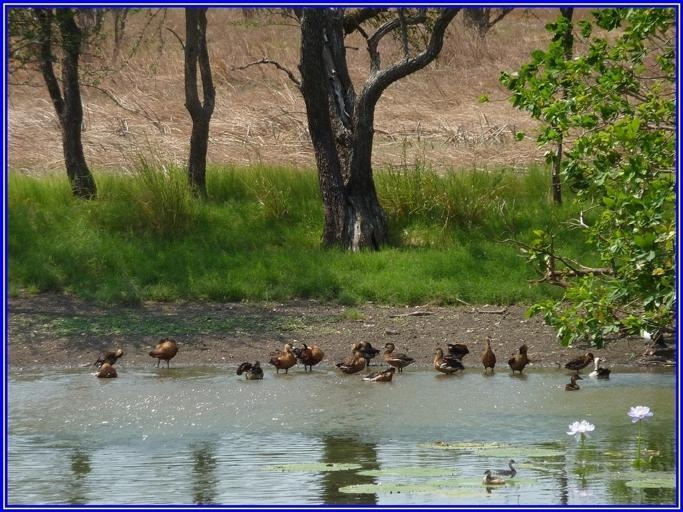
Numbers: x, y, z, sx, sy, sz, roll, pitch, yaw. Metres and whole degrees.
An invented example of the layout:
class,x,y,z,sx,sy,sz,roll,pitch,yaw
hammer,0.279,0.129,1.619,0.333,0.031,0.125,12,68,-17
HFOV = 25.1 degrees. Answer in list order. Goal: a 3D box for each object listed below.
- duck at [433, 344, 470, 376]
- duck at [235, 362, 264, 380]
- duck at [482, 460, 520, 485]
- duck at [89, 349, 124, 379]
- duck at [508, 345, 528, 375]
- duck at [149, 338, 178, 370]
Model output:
class,x,y,z,sx,sy,sz,roll,pitch,yaw
duck,2.148,2.148,30.792,0.696,0.527,0.374,-7,-5,37
duck,-1.770,2.259,30.350,0.506,0.353,0.604,-2,1,-41
duck,2.830,3.772,26.730,0.773,0.385,0.333,-2,1,-42
duck,-4.641,2.148,30.512,0.592,0.511,0.877,-1,1,-9
duck,3.589,2.073,30.856,0.431,0.542,0.804,-1,1,6
duck,-3.463,1.912,30.848,0.750,0.547,0.370,-8,-7,35
